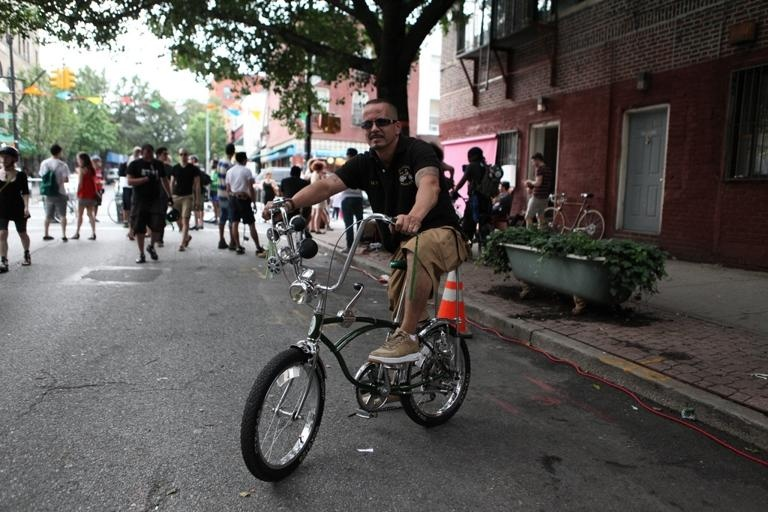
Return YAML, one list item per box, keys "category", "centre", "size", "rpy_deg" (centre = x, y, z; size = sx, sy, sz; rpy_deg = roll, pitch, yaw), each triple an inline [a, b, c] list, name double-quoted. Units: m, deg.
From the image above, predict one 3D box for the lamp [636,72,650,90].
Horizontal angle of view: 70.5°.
- category: "lamp"
  centre: [6.037, -4.096, 12.676]
  size: [0.161, 0.438, 0.309]
  rpy_deg: [-5, 15, -22]

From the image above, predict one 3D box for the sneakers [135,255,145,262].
- category: "sneakers"
  centre: [-4.957, 0.056, 11.046]
  size: [0.232, 0.160, 0.091]
  rpy_deg: [11, 11, 41]

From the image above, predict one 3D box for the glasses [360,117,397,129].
- category: "glasses"
  centre: [-0.042, -1.112, 4.557]
  size: [0.304, 0.089, 0.096]
  rpy_deg: [1, 14, -2]
